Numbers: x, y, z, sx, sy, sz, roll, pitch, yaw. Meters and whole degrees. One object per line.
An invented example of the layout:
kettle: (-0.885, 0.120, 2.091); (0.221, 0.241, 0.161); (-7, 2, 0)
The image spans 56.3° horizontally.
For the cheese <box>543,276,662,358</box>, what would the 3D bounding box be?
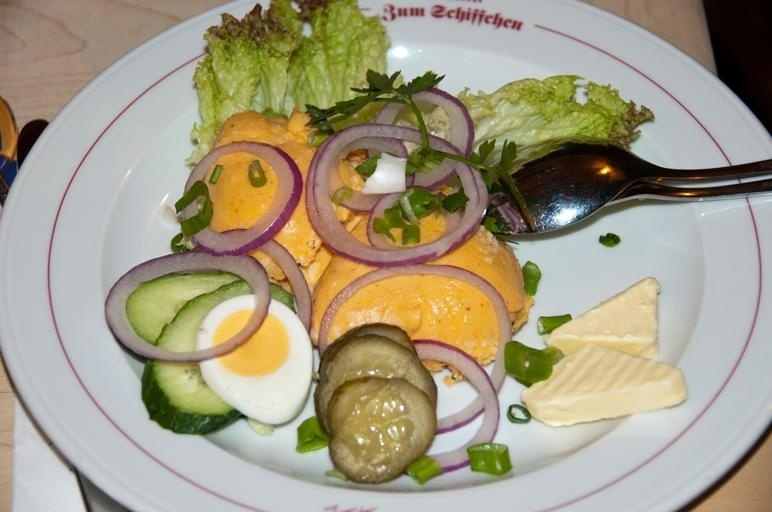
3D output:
cheese: (1.479, 0.412, 4.924); (0.667, 0.486, 0.760); (7, 23, 32)

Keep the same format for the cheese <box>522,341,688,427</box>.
cheese: (1.322, 0.794, 4.483); (0.947, 0.464, 0.417); (-14, -5, -1)
